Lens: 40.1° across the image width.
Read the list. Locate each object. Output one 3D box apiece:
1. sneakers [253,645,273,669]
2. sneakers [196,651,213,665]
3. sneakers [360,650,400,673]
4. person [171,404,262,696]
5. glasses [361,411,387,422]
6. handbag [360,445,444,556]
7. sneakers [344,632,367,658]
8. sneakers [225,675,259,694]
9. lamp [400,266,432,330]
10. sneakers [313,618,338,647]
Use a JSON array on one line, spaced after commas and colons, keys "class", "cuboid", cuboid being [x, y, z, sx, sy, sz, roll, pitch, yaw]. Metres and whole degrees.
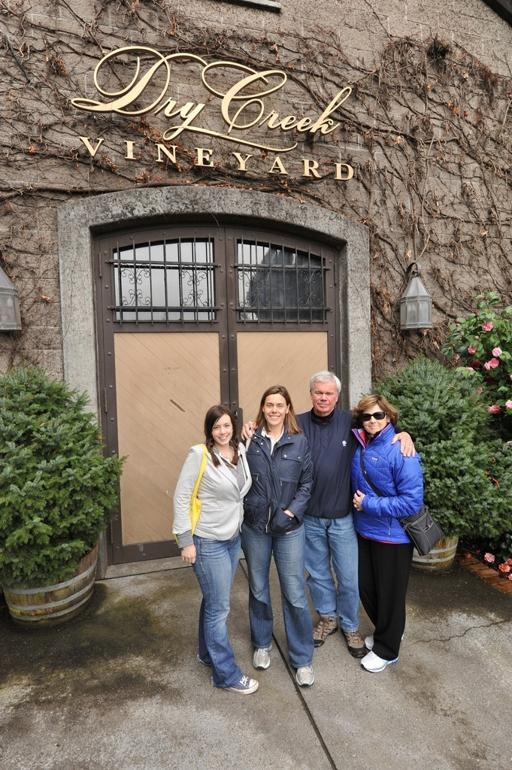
[{"class": "sneakers", "cuboid": [0.043, 1.664, 4.301, 0.097, 0.098, 0.229, 0, -8, 1]}, {"class": "sneakers", "cuboid": [-0.319, 1.689, 4.340, 0.112, 0.050, 0.039, 1, 8, -5]}, {"class": "sneakers", "cuboid": [0.726, 1.686, 4.323, 0.109, 0.081, 0.194, -1, 3, -10]}, {"class": "person", "cuboid": [-0.226, 0.960, 4.043, 0.500, 1.660, 0.312, -5, 7, -27]}, {"class": "glasses", "cuboid": [0.709, 0.186, 4.217, 0.140, 0.069, 0.044, 0, 7, 13]}, {"class": "handbag", "cuboid": [0.861, 0.689, 4.231, 0.473, 0.560, 0.164, 3, 8, 30]}, {"class": "sneakers", "cuboid": [0.634, 1.632, 4.424, 0.069, 0.076, 0.188, -5, 5, -10]}, {"class": "sneakers", "cuboid": [-0.069, 1.735, 4.107, 0.197, 0.093, 0.082, -6, 26, 11]}, {"class": "lamp", "cuboid": [1.453, -0.793, 6.408, 0.237, 0.601, 0.283, -5, 8, -30]}, {"class": "sneakers", "cuboid": [0.443, 1.578, 4.549, 0.086, 0.158, 0.251, 4, 16, 35]}]
